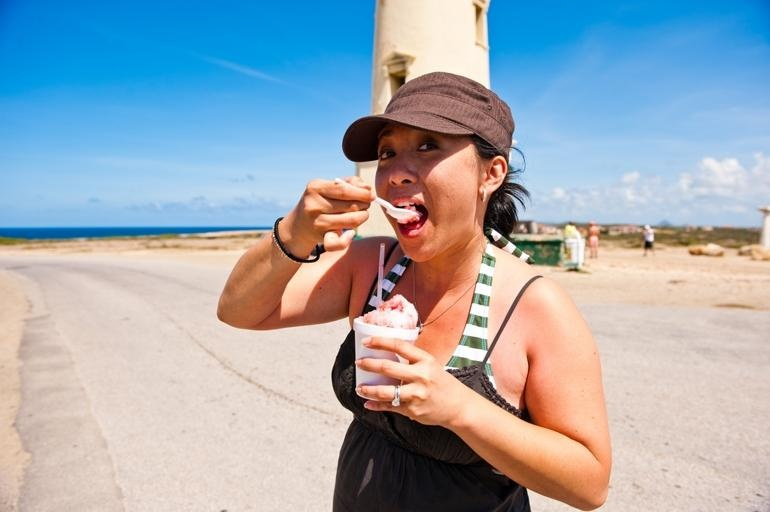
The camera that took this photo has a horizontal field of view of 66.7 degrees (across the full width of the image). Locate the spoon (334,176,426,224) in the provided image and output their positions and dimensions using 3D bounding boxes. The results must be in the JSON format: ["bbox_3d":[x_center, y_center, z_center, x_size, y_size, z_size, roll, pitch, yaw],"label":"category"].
[{"bbox_3d":[0.100,-0.429,5.483,0.428,0.253,0.231,-1,5,-7],"label":"spoon"}]

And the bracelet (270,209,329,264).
[{"bbox_3d":[-0.813,-0.184,5.475,0.353,0.441,0.271,-10,-16,33],"label":"bracelet"}]
